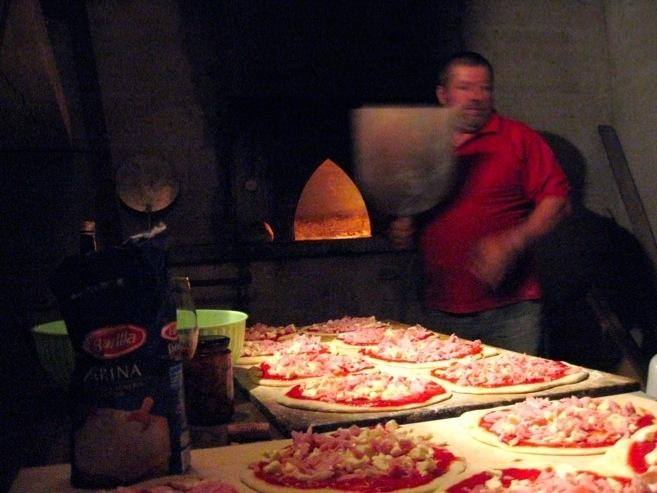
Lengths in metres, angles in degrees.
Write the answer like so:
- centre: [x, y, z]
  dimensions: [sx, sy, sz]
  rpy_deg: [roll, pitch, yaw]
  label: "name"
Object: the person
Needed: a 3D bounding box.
- centre: [0.912, -0.251, 3.354]
  dimensions: [0.790, 1.650, 0.331]
  rpy_deg: [0, 9, 21]
  label: "person"
